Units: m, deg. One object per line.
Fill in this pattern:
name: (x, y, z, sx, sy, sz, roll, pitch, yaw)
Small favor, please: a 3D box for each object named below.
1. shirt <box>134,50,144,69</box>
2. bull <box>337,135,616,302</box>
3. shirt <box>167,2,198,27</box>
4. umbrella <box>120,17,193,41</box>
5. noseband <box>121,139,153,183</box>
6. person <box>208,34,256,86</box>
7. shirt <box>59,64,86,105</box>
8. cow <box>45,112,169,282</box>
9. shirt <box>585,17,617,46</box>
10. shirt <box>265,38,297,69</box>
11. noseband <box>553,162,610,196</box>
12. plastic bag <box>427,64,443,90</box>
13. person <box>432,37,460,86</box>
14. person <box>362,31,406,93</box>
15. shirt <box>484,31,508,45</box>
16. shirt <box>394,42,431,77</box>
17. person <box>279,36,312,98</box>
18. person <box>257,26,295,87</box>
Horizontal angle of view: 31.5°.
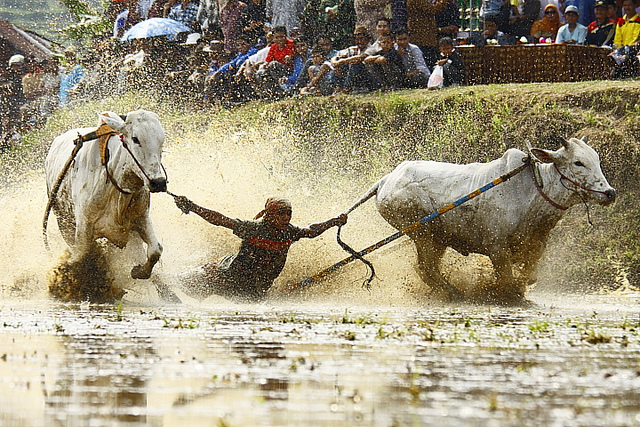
shirt: (-4.437, -3.860, 28.114, 0.340, 0.079, 0.327, -57, 49, 30)
bull: (2.652, 0.175, 19.101, 4.478, 1.407, 2.649, -2, 92, 18)
shirt: (-3.298, -4.888, 27.794, 0.613, 0.205, 0.527, 3, 80, 9)
umbrella: (-3.947, -4.485, 27.574, 1.669, 0.585, 0.672, -6, 68, 9)
noseband: (-2.791, -0.785, 17.453, 0.082, 0.129, 0.962, -35, 66, -4)
person: (-1.865, -3.725, 26.315, 1.192, 0.514, 0.717, 8, 71, -7)
shirt: (-6.553, -3.408, 30.295, 0.515, 0.197, 1.502, 10, 48, 6)
cow: (-3.491, -0.257, 18.863, 1.484, 4.409, 2.867, -3, 94, -32)
shirt: (5.876, -3.753, 23.473, 0.552, 0.344, 0.638, 0, 78, 40)
shirt: (-0.864, -3.516, 25.569, 0.759, 0.454, 0.763, -1, 100, -6)
noseband: (4.187, -0.537, 18.205, 0.990, 0.090, 0.141, 28, 119, 22)
plastic bag: (2.478, -2.904, 24.119, 0.313, 0.325, 0.437, 2, 69, 12)
person: (2.718, -3.197, 23.907, 0.463, 0.917, 0.644, -1, 68, 11)
person: (1.452, -3.271, 24.310, 0.841, 0.765, 1.162, -3, 95, -7)
shirt: (3.799, -3.758, 24.246, 0.487, 0.198, 0.306, 9, 71, 15)
shirt: (2.033, -3.215, 23.955, 0.448, 0.662, 0.573, -25, 66, 1)
person: (-0.424, -3.317, 25.591, 0.743, 1.015, 1.471, 0, 85, 19)
person: (-0.930, -3.537, 25.588, 0.756, 1.028, 1.363, 10, 108, 36)
